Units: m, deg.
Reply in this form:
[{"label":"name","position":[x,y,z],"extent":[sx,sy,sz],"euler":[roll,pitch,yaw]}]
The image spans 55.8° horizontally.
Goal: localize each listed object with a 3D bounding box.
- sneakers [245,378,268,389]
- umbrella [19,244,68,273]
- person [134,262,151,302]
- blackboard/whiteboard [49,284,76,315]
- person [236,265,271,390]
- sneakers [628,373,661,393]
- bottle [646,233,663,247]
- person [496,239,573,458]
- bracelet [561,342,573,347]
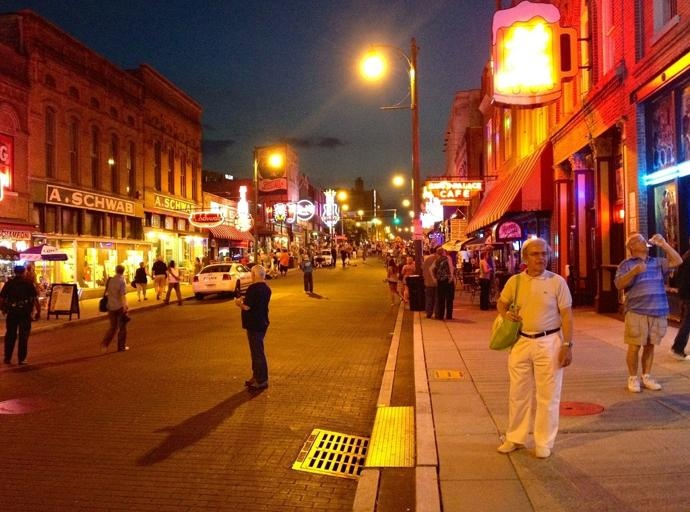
[{"label":"sneakers","position":[-1.538,2.189,11.297],"extent":[0.299,0.131,0.170],"euler":[8,-2,-19]},{"label":"umbrella","position":[-10.371,-0.047,22.668],"extent":[1.225,0.508,1.269],"euler":[0,-6,6]},{"label":"person","position":[-8.408,1.010,26.724],"extent":[0.502,1.656,2.427],"euler":[-3,5,-18]},{"label":"blackboard/whiteboard","position":[-8.700,1.326,20.118],"extent":[0.773,1.142,0.593],"euler":[0,-6,-5]},{"label":"person","position":[-1.597,1.234,11.537],"extent":[0.569,2.065,0.963],"euler":[-2,5,-7]},{"label":"sneakers","position":[4.566,1.943,9.991],"extent":[0.559,0.252,0.221],"euler":[-3,11,22]},{"label":"bottle","position":[5.857,-0.295,12.341],"extent":[0.269,0.282,0.408],"euler":[11,14,22]},{"label":"person","position":[2.314,1.101,7.985],"extent":[0.868,2.612,0.444],"euler":[-1,5,14]},{"label":"bracelet","position":[2.692,1.057,7.861],"extent":[0.105,0.045,0.115],"euler":[-2,1,0]}]
